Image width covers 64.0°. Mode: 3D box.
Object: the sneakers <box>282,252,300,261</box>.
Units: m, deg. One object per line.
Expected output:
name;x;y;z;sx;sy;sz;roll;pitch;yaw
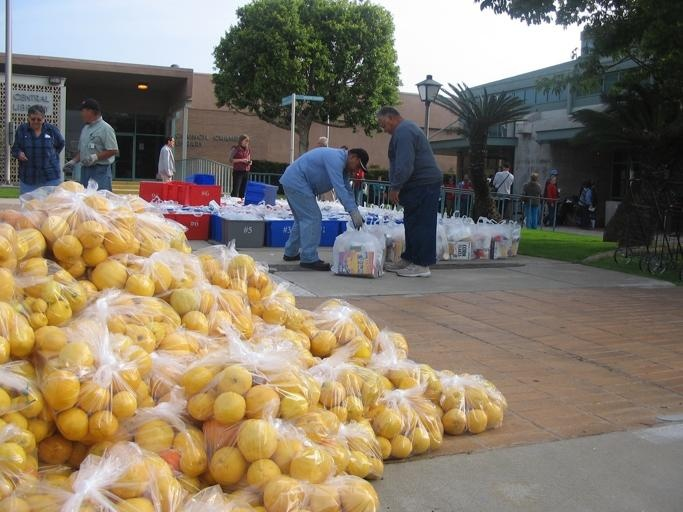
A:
sneakers;-0.778;0.018;8.376;0.274;0.135;0.099;-1;12;-10

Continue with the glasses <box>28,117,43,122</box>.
glasses;-4.367;-1.937;7.754;0.091;0.054;0.112;-3;6;-22

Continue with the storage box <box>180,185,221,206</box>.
storage box;-3.040;-1.278;11.566;0.557;0.388;0.546;-2;5;-34

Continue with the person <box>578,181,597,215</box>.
person;10.153;-2.399;22.435;0.632;1.340;0.898;6;5;25

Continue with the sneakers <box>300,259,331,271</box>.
sneakers;-0.385;0.120;8.008;0.435;0.212;0.173;-1;5;-9

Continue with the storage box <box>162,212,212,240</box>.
storage box;-2.201;-0.447;7.791;0.710;0.489;0.683;-1;4;-43

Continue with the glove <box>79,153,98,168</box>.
glove;-3.663;-1.353;7.858;0.160;0.097;0.217;-12;-4;-31

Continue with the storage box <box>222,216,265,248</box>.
storage box;-1.723;-0.397;9.836;0.818;0.589;0.869;0;4;-11

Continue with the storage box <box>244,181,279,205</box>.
storage box;-1.713;-1.327;11.731;0.580;0.556;0.857;5;1;17

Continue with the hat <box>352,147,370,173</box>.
hat;0.290;-1.347;7.682;0.211;0.280;0.547;5;5;17

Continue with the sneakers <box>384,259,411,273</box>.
sneakers;0.834;0.159;8.143;0.390;0.196;0.155;1;1;0

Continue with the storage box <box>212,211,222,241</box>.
storage box;-2.327;-0.532;10.128;0.243;0.501;0.467;-2;7;-19

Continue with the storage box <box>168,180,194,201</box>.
storage box;-3.455;-1.353;11.634;0.407;0.441;0.549;1;6;0

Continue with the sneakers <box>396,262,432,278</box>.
sneakers;1.039;0.202;7.831;0.492;0.263;0.195;3;-1;1

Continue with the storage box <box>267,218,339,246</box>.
storage box;-0.748;-0.435;10.172;0.905;0.413;0.628;-1;6;-10
